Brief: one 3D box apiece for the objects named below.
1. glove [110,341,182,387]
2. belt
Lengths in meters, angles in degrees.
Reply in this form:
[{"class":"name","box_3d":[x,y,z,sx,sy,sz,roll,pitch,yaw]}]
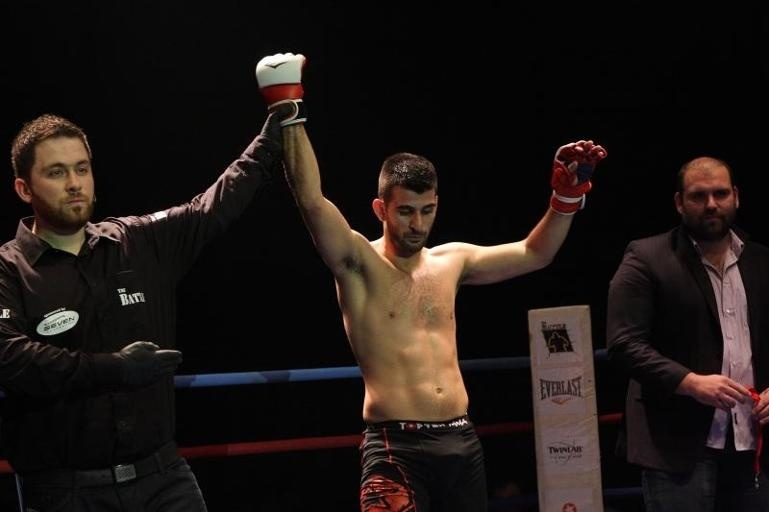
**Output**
[{"class":"glove","box_3d":[-1.044,0.454,3.352,0.245,0.171,0.064,0,-43,-25]},{"class":"belt","box_3d":[-1.263,0.933,3.388,0.672,0.166,0.109,-3,2,-12]}]
